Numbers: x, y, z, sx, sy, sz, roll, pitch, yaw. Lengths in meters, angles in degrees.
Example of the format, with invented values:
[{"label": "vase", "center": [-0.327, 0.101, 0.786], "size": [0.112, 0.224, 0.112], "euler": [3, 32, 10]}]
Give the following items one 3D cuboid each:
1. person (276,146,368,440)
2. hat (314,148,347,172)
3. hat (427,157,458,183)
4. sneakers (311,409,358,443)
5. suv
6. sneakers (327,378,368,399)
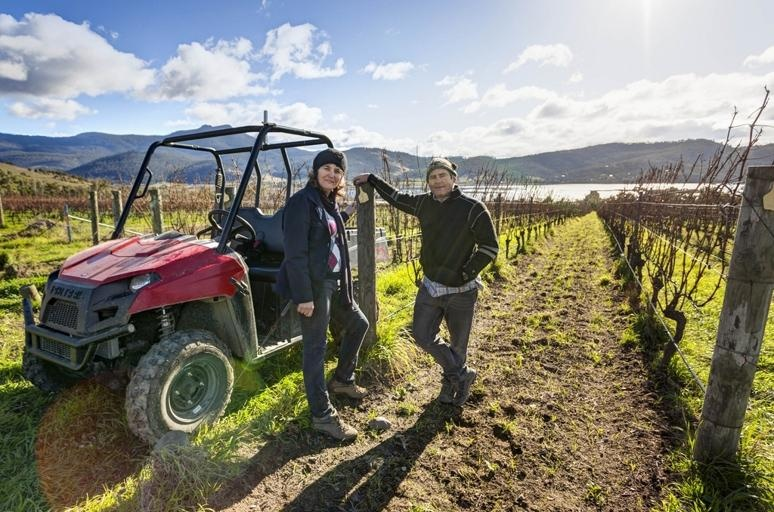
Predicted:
[{"label": "person", "center": [-0.673, 0.438, 4.744], "size": [0.724, 3.116, 0.912], "euler": [7, 15, 27]}, {"label": "hat", "center": [-0.591, -1.018, 4.532], "size": [0.369, 0.289, 0.379], "euler": [1, 8, -29]}, {"label": "hat", "center": [0.622, -0.992, 4.933], "size": [0.362, 0.263, 0.264], "euler": [-1, 13, -4]}, {"label": "sneakers", "center": [-0.543, 1.889, 4.793], "size": [0.552, 0.266, 0.254], "euler": [22, 10, -8]}, {"label": "suv", "center": [-2.405, 0.176, 6.780], "size": [2.870, 3.680, 5.059], "euler": [2, 2, 34]}, {"label": "sneakers", "center": [-0.490, 1.641, 5.339], "size": [0.565, 0.274, 0.200], "euler": [10, 11, -13]}]
